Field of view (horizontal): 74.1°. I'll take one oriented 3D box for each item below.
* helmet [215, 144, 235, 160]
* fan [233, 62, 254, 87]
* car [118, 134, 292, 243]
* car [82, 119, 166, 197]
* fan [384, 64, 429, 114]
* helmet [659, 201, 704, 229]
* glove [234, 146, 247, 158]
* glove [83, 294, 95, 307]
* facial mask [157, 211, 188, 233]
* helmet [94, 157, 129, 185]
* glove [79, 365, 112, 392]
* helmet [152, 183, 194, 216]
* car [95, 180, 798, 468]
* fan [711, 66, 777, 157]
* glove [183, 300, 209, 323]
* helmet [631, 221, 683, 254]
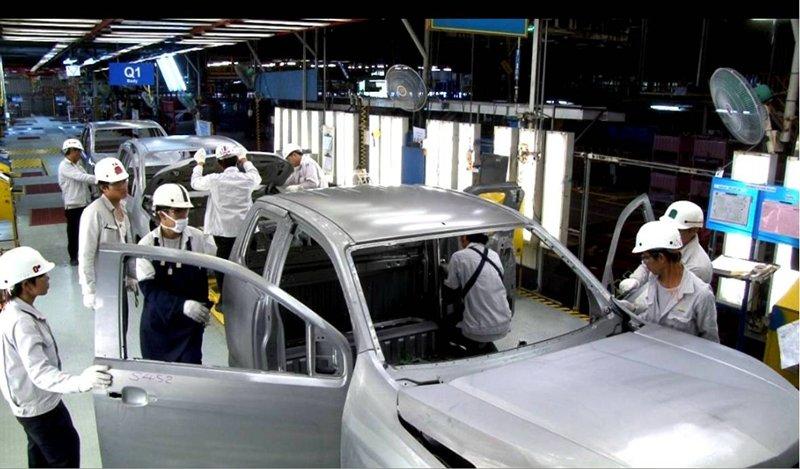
[{"bbox_3d":[-2.866,-1.352,8.737,0.302,0.240,0.246,-7,14,-15],"label":"helmet"},{"bbox_3d":[-5.772,-5.941,19.849,0.568,0.995,2.659,-7,14,-16],"label":"fan"},{"bbox_3d":[-4.576,-1.027,10.930,2.118,1.544,3.062,-7,4,-30],"label":"car"},{"bbox_3d":[-8.064,-2.282,15.286,1.857,1.520,3.361,-6,11,-27],"label":"car"},{"bbox_3d":[0.140,-3.168,11.601,1.008,1.026,0.233,20,39,30],"label":"fan"},{"bbox_3d":[3.480,-0.236,6.458,0.527,0.260,0.370,8,9,-15],"label":"helmet"},{"bbox_3d":[-2.825,-1.440,9.452,0.209,0.271,0.242,-1,2,-16],"label":"glove"},{"bbox_3d":[-3.892,0.807,6.648,0.124,0.203,0.223,-3,11,-26],"label":"glove"},{"bbox_3d":[-2.784,-0.165,6.483,0.284,0.177,0.244,8,2,3],"label":"facial mask"},{"bbox_3d":[-3.857,-0.808,6.979,0.314,0.229,0.433,-23,13,-41],"label":"helmet"},{"bbox_3d":[-2.681,1.252,4.670,0.273,0.200,0.121,8,12,-12],"label":"glove"},{"bbox_3d":[-2.791,-0.446,6.463,0.434,0.232,0.315,4,10,27],"label":"helmet"},{"bbox_3d":[0.282,0.800,5.023,5.538,2.242,2.879,1,14,19],"label":"car"},{"bbox_3d":[4.638,-1.704,7.205,1.101,1.095,0.225,-35,9,-38],"label":"fan"},{"bbox_3d":[-2.039,0.775,5.374,0.271,0.196,0.083,23,-13,3],"label":"glove"},{"bbox_3d":[2.715,0.007,5.501,0.452,0.253,0.326,-2,9,-8],"label":"helmet"}]
